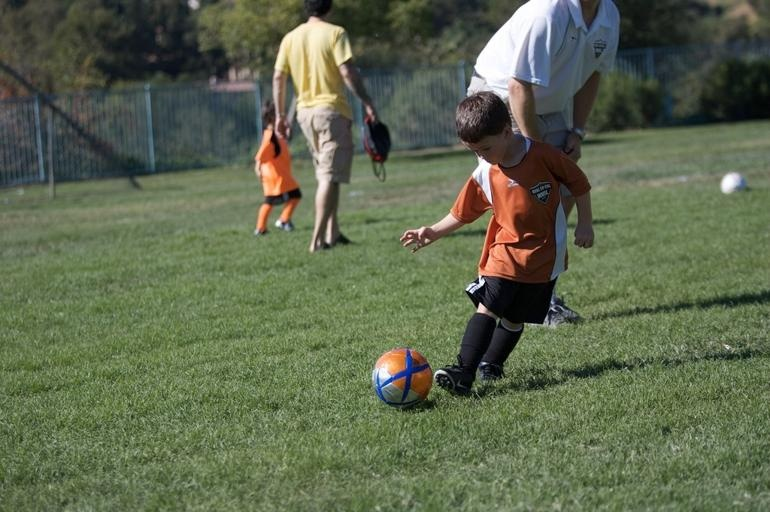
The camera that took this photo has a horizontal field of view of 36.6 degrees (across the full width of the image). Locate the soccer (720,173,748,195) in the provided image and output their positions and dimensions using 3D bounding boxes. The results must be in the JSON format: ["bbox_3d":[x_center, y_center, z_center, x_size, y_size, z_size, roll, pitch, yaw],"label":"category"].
[{"bbox_3d":[2.537,-0.541,8.494,0.193,0.104,0.289,1,15,6],"label":"soccer"}]

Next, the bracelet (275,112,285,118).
[{"bbox_3d":[-0.882,-1.205,9.855,0.047,0.040,0.050,6,17,18],"label":"bracelet"}]

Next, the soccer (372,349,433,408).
[{"bbox_3d":[0.123,0.722,7.206,0.318,0.332,0.321,-30,-2,27],"label":"soccer"}]

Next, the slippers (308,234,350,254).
[{"bbox_3d":[-0.482,-0.133,10.074,0.374,0.123,0.131,-14,17,-38],"label":"slippers"}]

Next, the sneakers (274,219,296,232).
[{"bbox_3d":[-0.959,-0.299,11.094,0.183,0.097,0.085,17,19,0],"label":"sneakers"}]

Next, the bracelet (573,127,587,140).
[{"bbox_3d":[1.317,-0.852,7.923,0.084,0.026,0.089,50,14,23],"label":"bracelet"}]

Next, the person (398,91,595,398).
[{"bbox_3d":[0.706,-0.091,7.268,0.883,1.782,0.583,-1,13,0],"label":"person"}]
